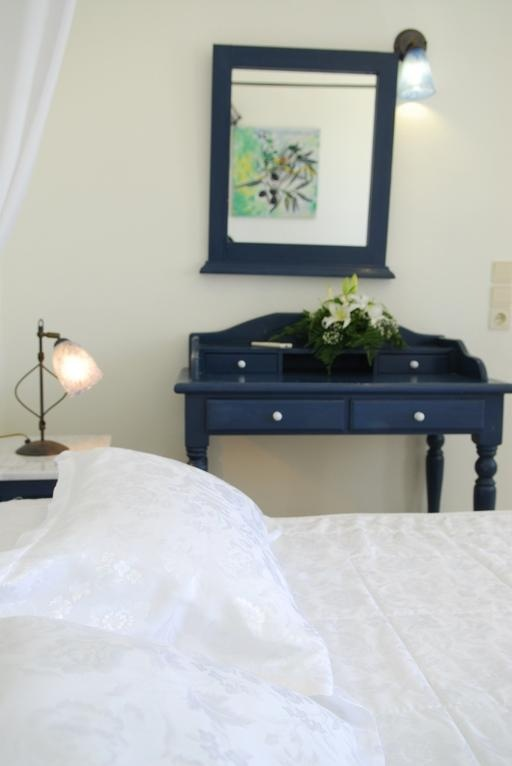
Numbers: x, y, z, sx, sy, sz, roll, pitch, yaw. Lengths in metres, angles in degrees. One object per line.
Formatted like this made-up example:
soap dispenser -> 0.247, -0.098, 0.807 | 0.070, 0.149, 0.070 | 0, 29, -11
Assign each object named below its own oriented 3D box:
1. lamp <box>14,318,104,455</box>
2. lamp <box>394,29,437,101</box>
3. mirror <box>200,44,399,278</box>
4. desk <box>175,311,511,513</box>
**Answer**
lamp -> -0.571, 0.024, 1.976 | 0.218, 0.391, 0.669 | 1, 8, -16
lamp -> 0.526, -1.058, 2.236 | 0.141, 0.234, 0.137 | 5, 8, 11
mirror -> 0.127, -0.774, 2.271 | 0.860, 0.825, 0.124 | 0, 10, -8
desk -> 0.248, 0.066, 2.115 | 0.763, 0.623, 0.400 | 0, 5, -4
